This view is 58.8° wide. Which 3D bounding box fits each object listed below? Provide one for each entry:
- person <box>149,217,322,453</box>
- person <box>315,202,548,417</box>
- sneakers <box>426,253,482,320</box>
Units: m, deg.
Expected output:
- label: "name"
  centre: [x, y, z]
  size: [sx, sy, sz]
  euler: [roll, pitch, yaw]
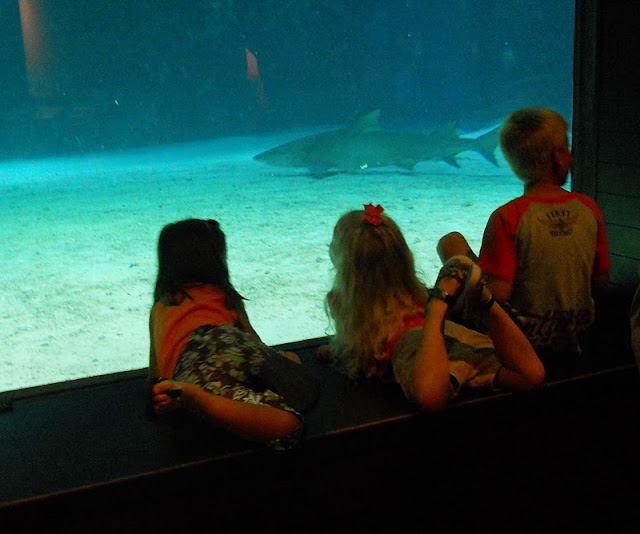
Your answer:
- label: "person"
  centre: [-0.318, 0.190, 2.024]
  size: [0.483, 0.494, 0.840]
  euler: [-13, 31, -9]
- label: "person"
  centre: [0.365, 0.119, 2.214]
  size: [0.513, 0.502, 0.889]
  euler: [-9, 14, -21]
- label: "sneakers"
  centre: [0.471, 0.073, 1.923]
  size: [0.103, 0.198, 0.155]
  euler: [28, 15, -31]
